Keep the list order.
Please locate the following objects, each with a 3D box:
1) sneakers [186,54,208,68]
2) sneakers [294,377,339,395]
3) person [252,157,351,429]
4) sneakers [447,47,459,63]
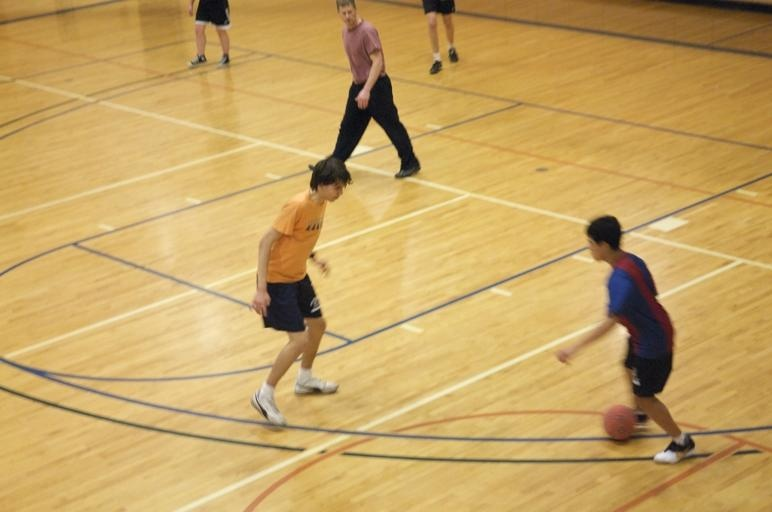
[{"bbox_3d":[-3.280,-3.365,14.143,0.456,0.239,0.121,-8,63,0],"label":"sneakers"},{"bbox_3d":[-0.541,1.024,6.619,0.381,0.116,0.130,-2,17,-2],"label":"sneakers"},{"bbox_3d":[-0.645,0.284,6.134,0.532,1.945,1.000,9,35,14],"label":"person"},{"bbox_3d":[1.101,-3.260,13.436,0.127,0.217,0.324,-9,27,12],"label":"sneakers"}]
